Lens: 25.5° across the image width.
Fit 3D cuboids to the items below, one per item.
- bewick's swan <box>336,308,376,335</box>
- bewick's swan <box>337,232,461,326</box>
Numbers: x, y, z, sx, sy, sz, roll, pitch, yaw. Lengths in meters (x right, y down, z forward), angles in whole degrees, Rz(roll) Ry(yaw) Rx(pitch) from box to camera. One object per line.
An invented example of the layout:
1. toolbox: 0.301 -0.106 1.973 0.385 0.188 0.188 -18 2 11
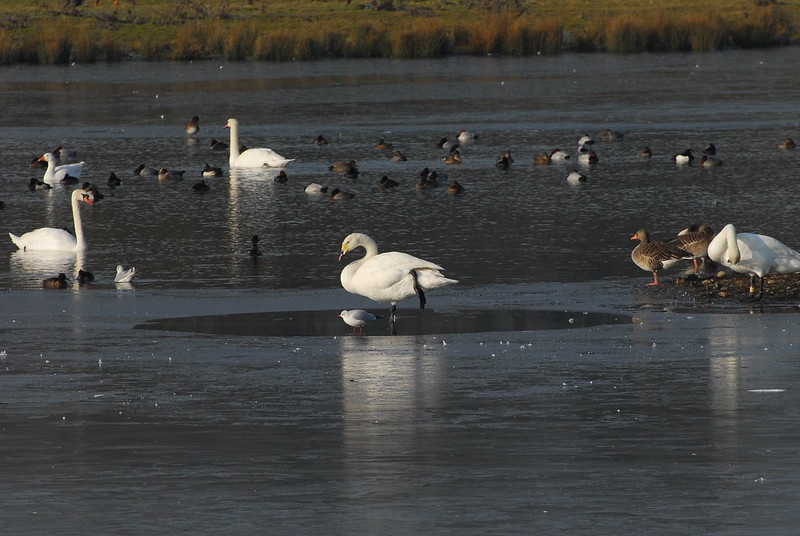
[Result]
1. bewick's swan: -0.873 1.093 38.129 0.734 0.567 1.110 -2 12 -3
2. bewick's swan: -0.012 0.321 40.223 3.057 1.472 1.495 3 8 17
